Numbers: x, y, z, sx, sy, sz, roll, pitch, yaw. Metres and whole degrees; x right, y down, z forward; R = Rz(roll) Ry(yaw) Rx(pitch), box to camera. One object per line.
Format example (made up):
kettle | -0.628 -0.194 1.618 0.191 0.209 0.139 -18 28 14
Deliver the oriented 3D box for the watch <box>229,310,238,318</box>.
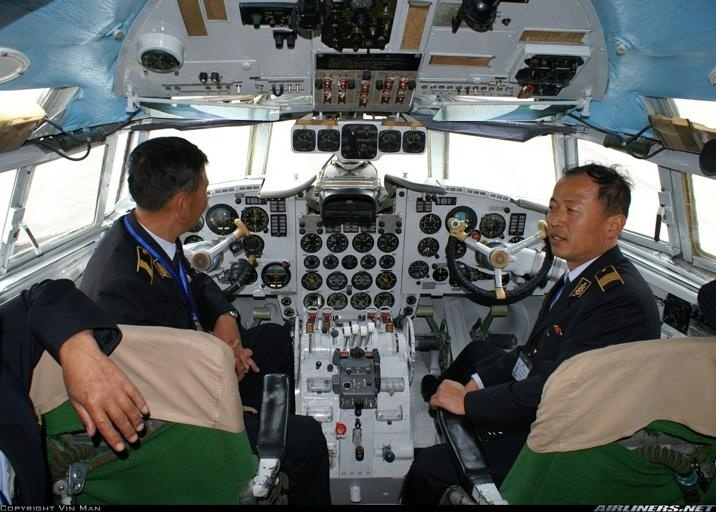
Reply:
watch | -0.929 0.426 3.637 0.066 0.028 0.078 0 -14 -1
